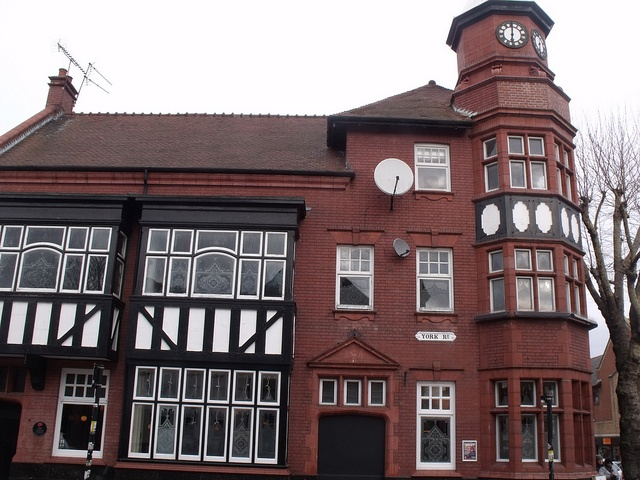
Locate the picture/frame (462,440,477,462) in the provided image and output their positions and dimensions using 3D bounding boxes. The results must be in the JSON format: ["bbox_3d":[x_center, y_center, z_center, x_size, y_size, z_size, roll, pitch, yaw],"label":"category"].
[{"bbox_3d":[4.971,7.032,23.539,0.580,0.870,0.068,1,-24,2],"label":"picture/frame"}]

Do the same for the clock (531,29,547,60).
[{"bbox_3d":[8.405,-7.472,27.039,0.121,1.238,0.965,-16,-26,42],"label":"clock"}]

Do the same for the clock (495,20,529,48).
[{"bbox_3d":[7.242,-7.690,26.707,1.001,1.129,0.060,1,-22,-6],"label":"clock"}]
